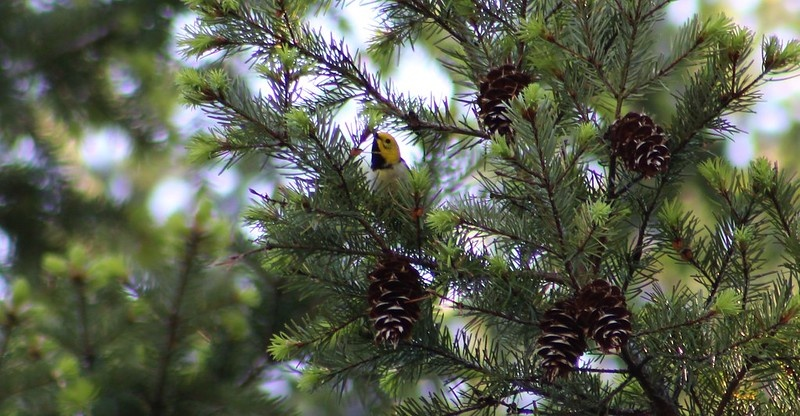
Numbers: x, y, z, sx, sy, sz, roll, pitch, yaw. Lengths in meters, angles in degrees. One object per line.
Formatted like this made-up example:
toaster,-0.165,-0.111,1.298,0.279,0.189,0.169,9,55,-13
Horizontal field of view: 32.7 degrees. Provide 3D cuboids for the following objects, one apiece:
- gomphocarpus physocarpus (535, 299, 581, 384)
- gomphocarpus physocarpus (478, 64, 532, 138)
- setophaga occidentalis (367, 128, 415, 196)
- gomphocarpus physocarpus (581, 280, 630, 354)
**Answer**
gomphocarpus physocarpus,1.218,0.999,10.470,0.244,0.289,0.682,0,-89,12
gomphocarpus physocarpus,0.836,-0.879,10.786,0.288,0.382,0.688,0,-88,-5
setophaga occidentalis,0.005,-0.393,11.592,0.324,0.585,0.610,1,-96,0
gomphocarpus physocarpus,1.583,0.823,10.429,0.339,0.344,0.334,1,-53,9
